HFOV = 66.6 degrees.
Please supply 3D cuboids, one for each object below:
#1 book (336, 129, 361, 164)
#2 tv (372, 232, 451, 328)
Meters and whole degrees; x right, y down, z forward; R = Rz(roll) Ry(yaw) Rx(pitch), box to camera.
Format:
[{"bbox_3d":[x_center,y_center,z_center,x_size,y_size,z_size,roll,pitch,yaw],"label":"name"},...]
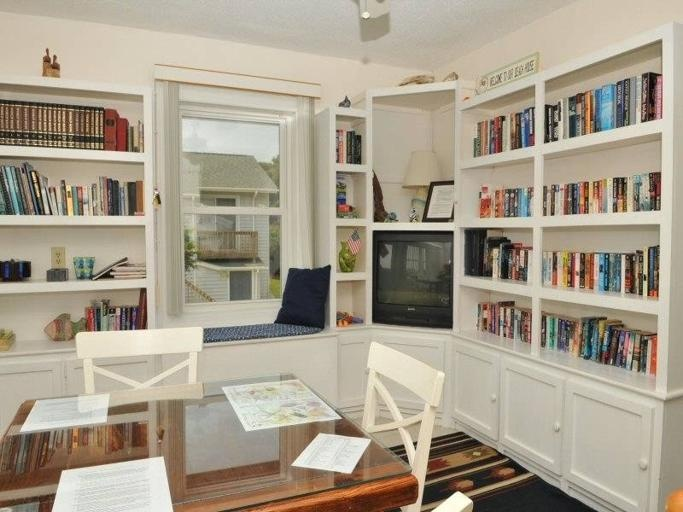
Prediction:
[{"bbox_3d":[0.055,-0.932,4.585,0.254,0.339,0.347,-1,2,-7],"label":"book"},{"bbox_3d":[0.610,0.194,4.328,0.798,0.932,0.494,0,-1,21],"label":"tv"}]
